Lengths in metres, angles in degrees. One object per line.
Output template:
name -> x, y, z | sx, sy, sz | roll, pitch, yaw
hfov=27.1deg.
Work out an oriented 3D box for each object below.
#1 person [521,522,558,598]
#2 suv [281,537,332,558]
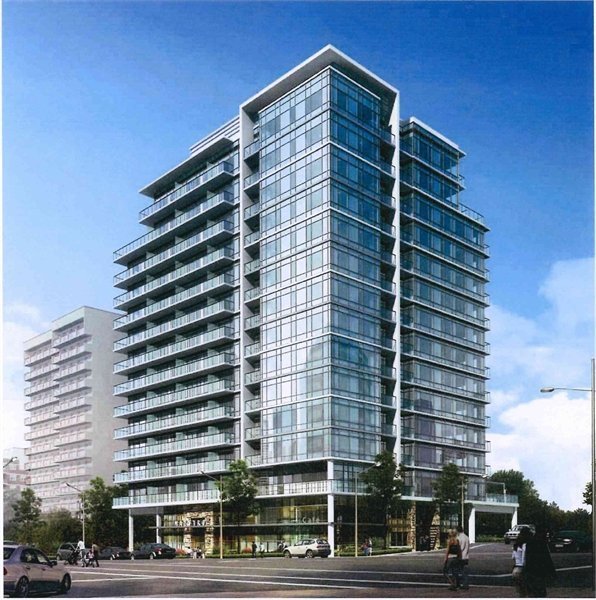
person -> 10.879, 12.019, 56.366 | 1.231, 3.076, 1.321 | 4, -21, -8
suv -> 0.589, 18.563, 92.056 | 3.217, 1.097, 1.437 | -5, -17, 34
